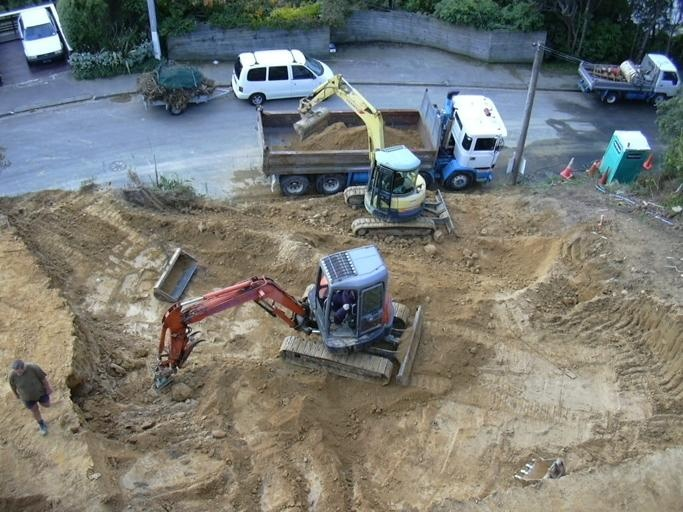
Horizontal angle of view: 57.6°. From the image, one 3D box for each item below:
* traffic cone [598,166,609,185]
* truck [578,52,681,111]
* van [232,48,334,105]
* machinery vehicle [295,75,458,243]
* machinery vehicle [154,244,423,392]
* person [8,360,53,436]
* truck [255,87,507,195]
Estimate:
[{"bbox_3d":[8.641,-2.637,20.477,0.314,0.597,0.306,-28,45,-19],"label":"traffic cone"},{"bbox_3d":[11.384,-6.946,24.508,3.387,1.608,1.316,1,35,3],"label":"truck"},{"bbox_3d":[-2.037,-6.889,23.877,3.775,1.847,2.102,-8,34,-9],"label":"van"},{"bbox_3d":[1.418,-2.422,19.577,4.317,5.431,4.124,-18,33,-37],"label":"machinery vehicle"},{"bbox_3d":[-1.167,1.182,15.059,6.527,2.728,2.889,-2,35,-1],"label":"machinery vehicle"},{"bbox_3d":[-6.334,2.788,12.826,0.637,1.444,0.873,-29,43,-35],"label":"person"},{"bbox_3d":[1.429,-3.748,21.181,8.940,3.998,3.740,-6,55,-7],"label":"truck"}]
